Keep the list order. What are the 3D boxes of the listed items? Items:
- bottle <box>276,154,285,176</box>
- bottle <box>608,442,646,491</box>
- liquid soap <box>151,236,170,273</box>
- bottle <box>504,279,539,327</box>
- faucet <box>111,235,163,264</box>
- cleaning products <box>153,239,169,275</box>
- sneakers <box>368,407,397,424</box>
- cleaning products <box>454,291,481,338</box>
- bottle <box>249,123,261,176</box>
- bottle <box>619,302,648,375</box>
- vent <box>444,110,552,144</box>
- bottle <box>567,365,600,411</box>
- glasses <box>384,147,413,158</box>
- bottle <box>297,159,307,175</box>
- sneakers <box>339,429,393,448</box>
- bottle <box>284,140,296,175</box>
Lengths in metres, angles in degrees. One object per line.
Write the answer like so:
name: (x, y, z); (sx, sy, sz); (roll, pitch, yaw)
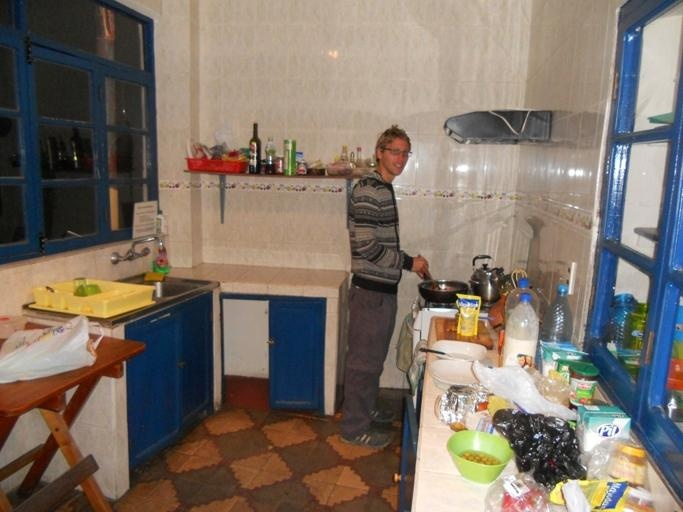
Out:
bottle: (-0.443, -0.648, 3.781); (0.068, 0.123, 0.061); (-1, 11, -11)
bottle: (0.900, 0.652, 1.636); (0.124, 0.123, 0.125); (16, -13, -30)
liquid soap: (-1.334, 0.015, 3.816); (0.104, 0.288, 0.114); (-9, -10, 32)
bottle: (0.870, 0.242, 2.504); (0.158, 0.289, 0.166); (8, -19, 3)
faucet: (-1.410, -0.038, 3.625); (0.106, 0.162, 0.359); (6, 9, 22)
cleaning products: (-1.309, 0.004, 3.809); (0.111, 0.273, 0.113); (-3, 32, -24)
sneakers: (0.295, 1.145, 3.740); (0.235, 0.109, 0.097); (-1, 14, 6)
cleaning products: (0.653, 0.309, 2.692); (0.182, 0.292, 0.072); (1, 3, 11)
bottle: (-0.645, -0.811, 3.904); (0.088, 0.377, 0.336); (-1, 11, -8)
bottle: (1.137, 0.281, 2.019); (0.095, 0.269, 0.102); (8, -17, 2)
vent: (0.941, -0.762, 3.094); (0.415, 0.146, 0.322); (2, 4, 18)
bottle: (0.885, 0.475, 1.919); (0.090, 0.145, 0.094); (-1, 16, 0)
glasses: (0.359, -0.643, 3.257); (0.166, 0.059, 0.067); (-6, 13, -30)
bottle: (-0.289, -0.647, 3.831); (0.071, 0.104, 0.085); (0, 11, -7)
sneakers: (0.166, 1.162, 3.422); (0.302, 0.142, 0.127); (-1, 11, 4)
bottle: (-0.377, -0.712, 3.798); (0.084, 0.252, 0.116); (0, 11, -4)
